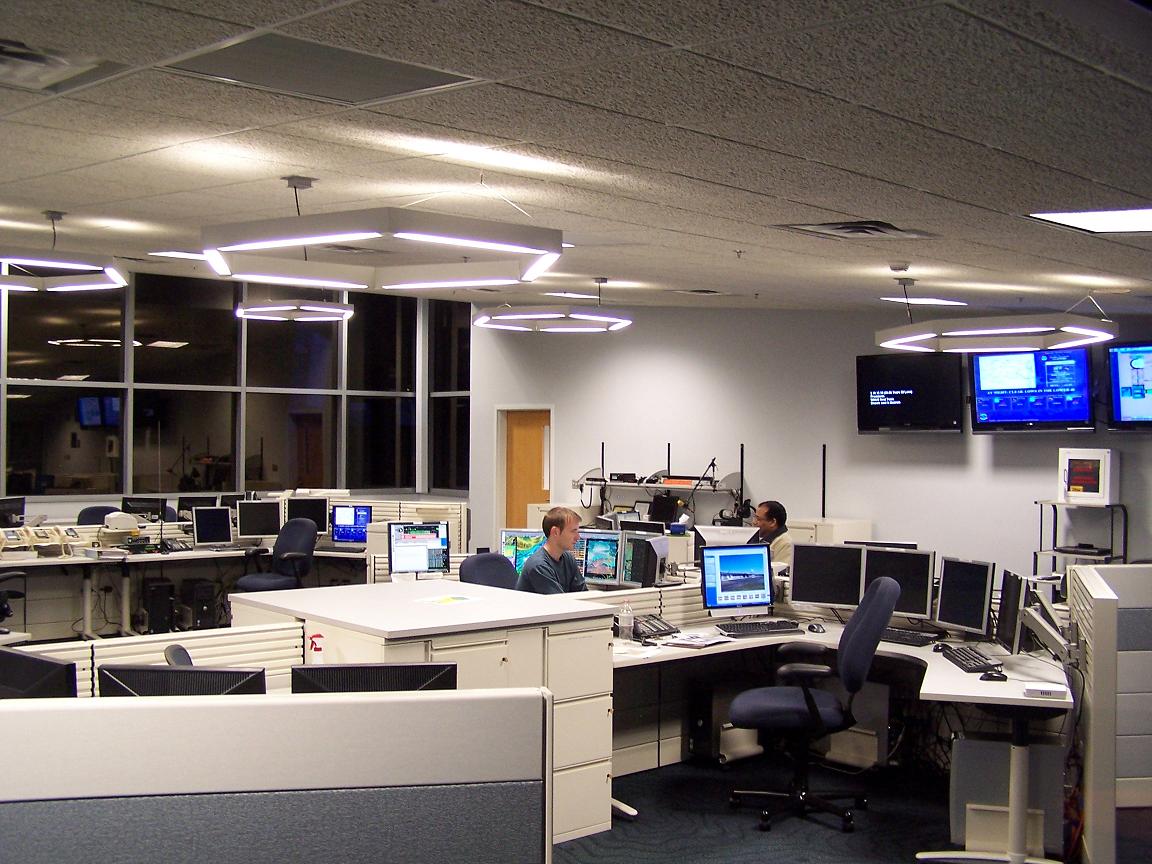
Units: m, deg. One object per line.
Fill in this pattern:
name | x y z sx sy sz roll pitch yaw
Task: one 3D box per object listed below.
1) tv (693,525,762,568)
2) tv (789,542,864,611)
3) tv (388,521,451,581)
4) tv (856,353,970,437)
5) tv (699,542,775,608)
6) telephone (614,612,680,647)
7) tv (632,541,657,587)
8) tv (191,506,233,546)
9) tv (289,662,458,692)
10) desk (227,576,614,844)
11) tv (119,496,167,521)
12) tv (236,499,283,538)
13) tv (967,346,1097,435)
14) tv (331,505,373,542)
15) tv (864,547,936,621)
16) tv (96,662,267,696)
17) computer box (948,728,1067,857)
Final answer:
tv | 1.007 0.760 6.460 0.398 0.266 0.117 0 -1 20
tv | 1.571 0.898 6.092 0.560 0.387 0.058 0 1 24
tv | -1.252 0.941 7.754 0.590 0.398 0.072 0 -2 -10
tv | 3.325 -0.370 9.514 1.012 0.614 0.103 -1 1 37
tv | 1.008 0.912 6.162 0.508 0.351 0.063 1 -9 -21
telephone | 0.411 1.159 5.758 0.241 0.075 0.237 3 0 -40
tv | 0.467 0.864 6.471 0.144 0.298 0.214 -1 -7 -18
tv | -3.588 0.920 9.590 0.478 0.398 0.073 -1 2 -19
tv | -0.581 0.716 2.848 0.471 0.096 0.174 -1 -7 -11
desk | -0.622 1.372 4.569 1.687 1.274 1.149 -3 -7 -2
tv | -4.394 0.778 9.955 0.415 0.260 0.523 0 -7 -22
tv | -3.131 0.857 9.669 0.462 0.307 0.036 0 -3 -13
tv | 4.088 -0.376 8.648 0.917 0.648 0.096 1 4 39
tv | -2.238 0.921 9.834 0.460 0.349 0.143 1 -3 4
tv | 1.876 0.882 5.637 0.518 0.433 0.051 1 6 37
tv | -1.208 0.745 2.949 0.500 0.086 0.167 -4 -7 16
computer box | 2.070 1.761 4.788 0.613 0.478 0.557 1 -1 24
